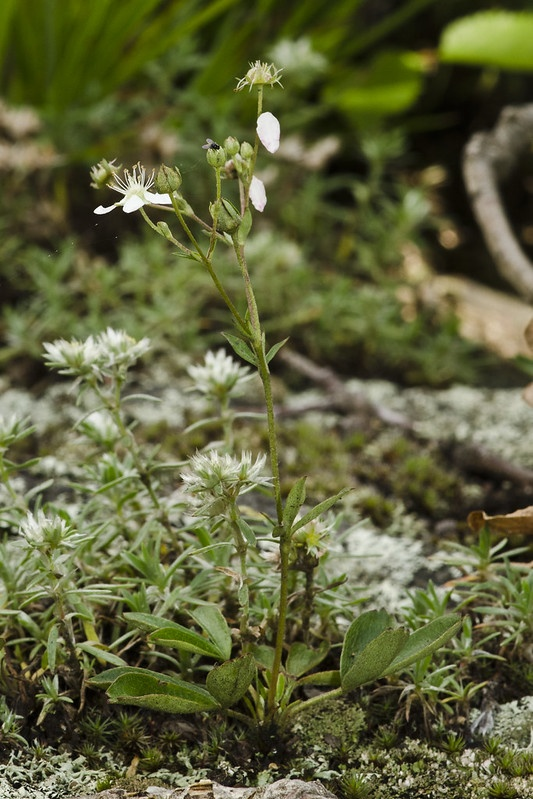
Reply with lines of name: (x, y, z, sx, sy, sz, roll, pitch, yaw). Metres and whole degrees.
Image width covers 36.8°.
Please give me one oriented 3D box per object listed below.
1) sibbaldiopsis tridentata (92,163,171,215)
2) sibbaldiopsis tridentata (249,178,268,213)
sibbaldiopsis tridentata: (-0.193, -0.324, 1.205, 0.114, 0.043, 0.112, -9, 4, -15)
sibbaldiopsis tridentata: (-0.013, -0.281, 1.126, 0.029, 0.051, 0.012, -9, -11, -23)
